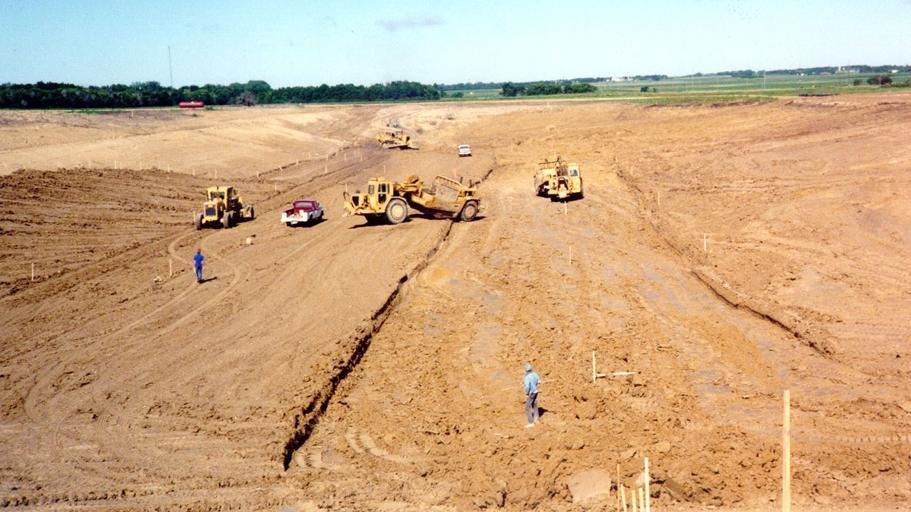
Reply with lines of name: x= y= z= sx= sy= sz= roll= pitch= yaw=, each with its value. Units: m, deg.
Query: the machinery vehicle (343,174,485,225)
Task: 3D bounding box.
machinery vehicle: x=-2.854 y=-3.552 z=43.937 sx=7.506 sy=2.264 sz=3.670 roll=-4 pitch=15 yaw=-16

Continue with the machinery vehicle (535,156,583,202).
machinery vehicle: x=7.530 y=-6.090 z=48.473 sx=3.086 sy=2.035 sz=4.340 roll=-5 pitch=33 yaw=8

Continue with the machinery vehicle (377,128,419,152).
machinery vehicle: x=-7.119 y=-13.339 z=79.071 sx=3.736 sy=1.660 sz=5.498 roll=-5 pitch=16 yaw=-14

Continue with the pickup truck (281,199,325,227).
pickup truck: x=-9.875 y=-2.907 z=44.656 sx=1.730 sy=1.123 sz=2.795 roll=3 pitch=14 yaw=16
